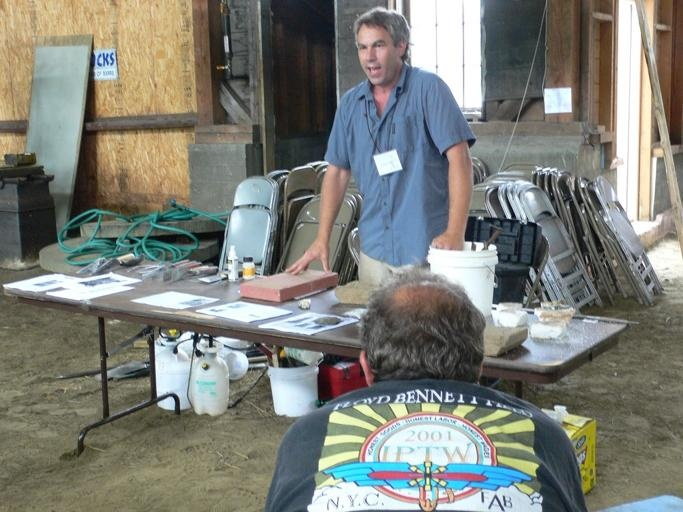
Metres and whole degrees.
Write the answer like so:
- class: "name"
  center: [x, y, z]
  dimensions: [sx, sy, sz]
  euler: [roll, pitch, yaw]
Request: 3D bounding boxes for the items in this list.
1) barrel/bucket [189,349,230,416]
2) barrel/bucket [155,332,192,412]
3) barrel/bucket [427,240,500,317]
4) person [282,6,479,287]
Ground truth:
- class: "barrel/bucket"
  center: [-0.965, 0.917, 5.995]
  dimensions: [0.256, 0.499, 0.243]
  euler: [0, 10, 0]
- class: "barrel/bucket"
  center: [-1.281, 0.873, 6.108]
  dimensions: [0.270, 0.528, 0.293]
  euler: [5, 25, -2]
- class: "barrel/bucket"
  center: [0.686, 0.124, 4.461]
  dimensions: [0.336, 0.409, 0.419]
  euler: [0, -1, 10]
- class: "person"
  center: [0.301, -0.654, 5.018]
  dimensions: [1.086, 1.693, 0.482]
  euler: [4, 10, 26]
